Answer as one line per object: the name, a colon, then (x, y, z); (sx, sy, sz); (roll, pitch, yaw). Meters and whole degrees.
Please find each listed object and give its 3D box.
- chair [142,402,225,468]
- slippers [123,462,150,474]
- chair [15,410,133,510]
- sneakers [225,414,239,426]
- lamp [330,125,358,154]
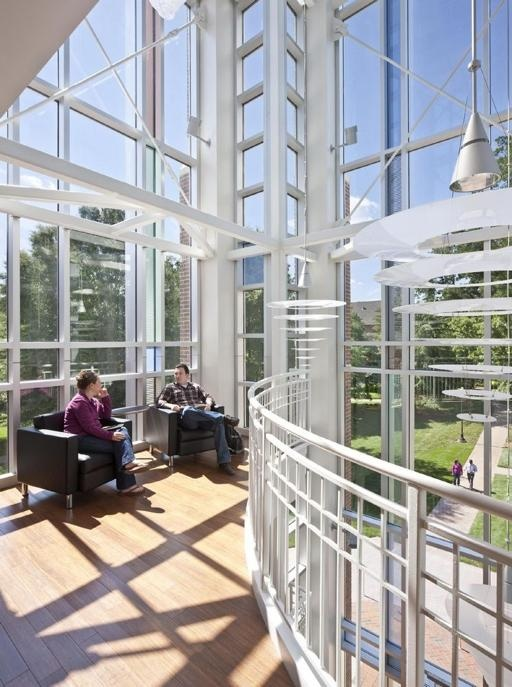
chair: (-0.795, 0.934, 6.041); (0.814, 0.572, 0.829); (1, 1, -7)
slippers: (-1.007, 1.064, 4.729); (0.272, 0.108, 0.092); (-2, -5, 15)
chair: (-1.601, 0.980, 4.837); (0.761, 0.664, 0.818); (2, 0, 12)
sneakers: (-0.275, 0.812, 5.847); (0.088, 0.084, 0.197); (3, 5, -23)
lamp: (1.172, -2.709, 7.297); (0.354, 0.298, 0.168); (5, 11, 31)
